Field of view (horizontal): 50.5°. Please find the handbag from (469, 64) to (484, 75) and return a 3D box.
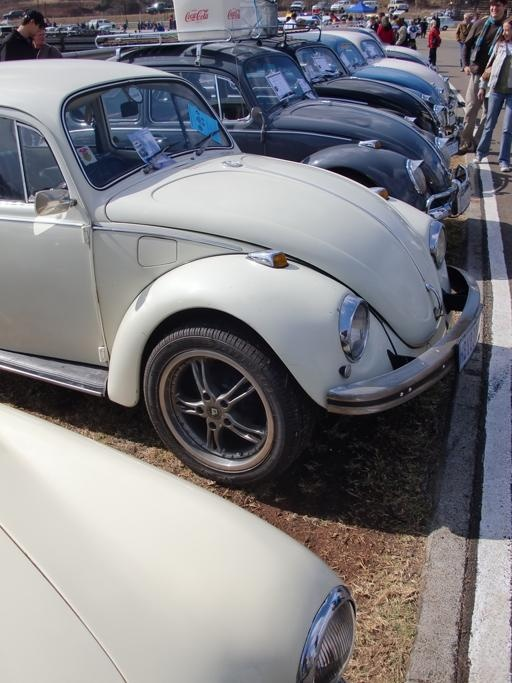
[{"bbox_3d":[3.392,-4.196,8.354,0.162,0.164,0.162,-17,24,-42],"label":"handbag"}]
